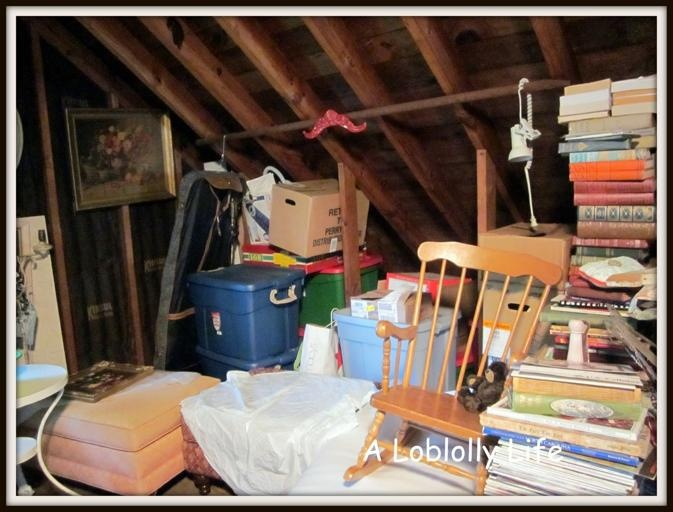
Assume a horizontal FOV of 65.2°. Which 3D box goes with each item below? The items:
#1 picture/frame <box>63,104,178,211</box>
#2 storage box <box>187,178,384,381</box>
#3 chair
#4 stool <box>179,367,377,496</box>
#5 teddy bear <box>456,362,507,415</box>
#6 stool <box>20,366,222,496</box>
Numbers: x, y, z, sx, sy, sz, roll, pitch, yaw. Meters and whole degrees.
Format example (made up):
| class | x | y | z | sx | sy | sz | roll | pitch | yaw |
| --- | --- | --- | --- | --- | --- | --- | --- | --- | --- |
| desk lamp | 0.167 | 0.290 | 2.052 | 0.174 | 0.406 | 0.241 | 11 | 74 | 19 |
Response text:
| class | x | y | z | sx | sy | sz | roll | pitch | yaw |
| --- | --- | --- | --- | --- | --- | --- | --- | --- | --- |
| picture/frame | -1.501 | -0.713 | 3.709 | 0.042 | 0.669 | 0.814 | 15 | 21 | 28 |
| storage box | -0.393 | 0.182 | 3.434 | 1.068 | 0.772 | 0.724 | 0 | 2 | 41 |
| chair | 0.422 | 0.485 | 2.053 | 0.615 | 0.848 | 0.689 | 15 | 18 | 41 |
| stool | -0.305 | 0.787 | 2.442 | 0.682 | 0.274 | 0.676 | 2 | 0 | 34 |
| teddy bear | 0.569 | 0.476 | 2.010 | 0.164 | 0.184 | 0.161 | 6 | 27 | 6 |
| stool | -1.054 | 0.882 | 2.535 | 0.607 | 0.321 | 0.599 | -1 | 3 | 25 |
